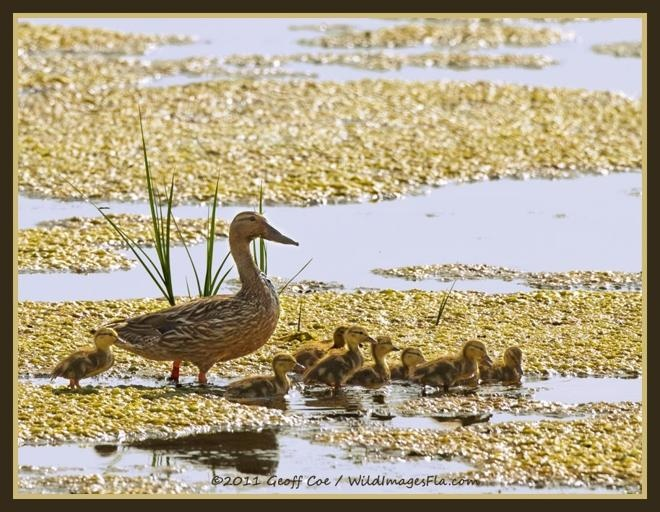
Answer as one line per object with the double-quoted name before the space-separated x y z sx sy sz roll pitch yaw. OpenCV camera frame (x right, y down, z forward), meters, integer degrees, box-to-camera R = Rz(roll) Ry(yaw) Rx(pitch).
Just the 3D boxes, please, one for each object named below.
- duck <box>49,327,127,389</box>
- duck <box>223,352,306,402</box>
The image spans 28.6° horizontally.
"duck" -3.238 1.375 17.178 1.112 0.851 0.586 1 11 15
"duck" -0.850 1.638 17.093 1.102 0.536 0.537 -2 28 -21
